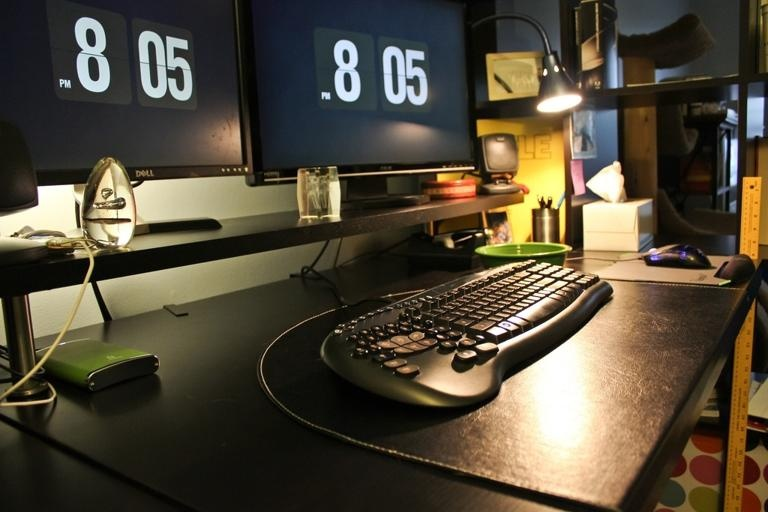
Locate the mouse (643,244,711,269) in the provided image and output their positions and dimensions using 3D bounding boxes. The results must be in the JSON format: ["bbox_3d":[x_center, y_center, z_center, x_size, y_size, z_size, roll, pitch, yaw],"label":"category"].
[{"bbox_3d":[0.737,-0.001,1.327,0.117,0.040,0.071,-1,8,30],"label":"mouse"}]

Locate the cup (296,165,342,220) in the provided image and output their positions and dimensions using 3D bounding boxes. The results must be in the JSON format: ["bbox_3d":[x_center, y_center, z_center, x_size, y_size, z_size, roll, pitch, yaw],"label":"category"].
[{"bbox_3d":[-0.144,-0.151,1.275,0.113,0.129,0.111,-2,15,0],"label":"cup"}]

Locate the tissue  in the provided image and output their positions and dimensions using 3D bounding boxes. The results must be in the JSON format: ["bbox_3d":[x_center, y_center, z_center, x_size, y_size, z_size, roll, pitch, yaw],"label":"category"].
[{"bbox_3d":[0.855,-0.165,1.675,0.321,0.261,0.417,1,8,34],"label":"tissue "}]

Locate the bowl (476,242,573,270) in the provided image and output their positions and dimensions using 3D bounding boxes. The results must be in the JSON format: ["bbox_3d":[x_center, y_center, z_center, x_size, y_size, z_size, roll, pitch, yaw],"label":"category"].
[{"bbox_3d":[0.360,-0.019,1.383,0.203,0.069,0.214,0,7,0],"label":"bowl"}]

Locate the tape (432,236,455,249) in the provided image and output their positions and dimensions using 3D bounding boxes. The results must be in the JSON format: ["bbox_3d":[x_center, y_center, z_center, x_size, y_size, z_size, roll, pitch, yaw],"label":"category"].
[{"bbox_3d":[0.180,-0.044,1.566,0.040,0.015,0.057,21,19,17],"label":"tape"}]

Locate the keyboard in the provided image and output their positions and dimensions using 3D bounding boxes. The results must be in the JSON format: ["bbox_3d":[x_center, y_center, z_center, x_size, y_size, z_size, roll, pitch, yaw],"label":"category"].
[{"bbox_3d":[0.189,0.104,0.996,0.307,0.078,0.731,6,14,37],"label":"keyboard"}]

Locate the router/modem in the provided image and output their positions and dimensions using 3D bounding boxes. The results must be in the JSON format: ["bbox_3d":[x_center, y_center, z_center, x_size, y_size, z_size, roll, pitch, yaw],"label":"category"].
[{"bbox_3d":[-0.465,0.148,0.889,0.163,0.060,0.179,11,12,39],"label":"router/modem"}]

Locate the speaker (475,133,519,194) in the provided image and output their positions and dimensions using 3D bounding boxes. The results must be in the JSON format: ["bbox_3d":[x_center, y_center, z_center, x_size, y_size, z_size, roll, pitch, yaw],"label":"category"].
[{"bbox_3d":[0.382,-0.299,1.700,0.120,0.183,0.223,6,18,45],"label":"speaker"}]
